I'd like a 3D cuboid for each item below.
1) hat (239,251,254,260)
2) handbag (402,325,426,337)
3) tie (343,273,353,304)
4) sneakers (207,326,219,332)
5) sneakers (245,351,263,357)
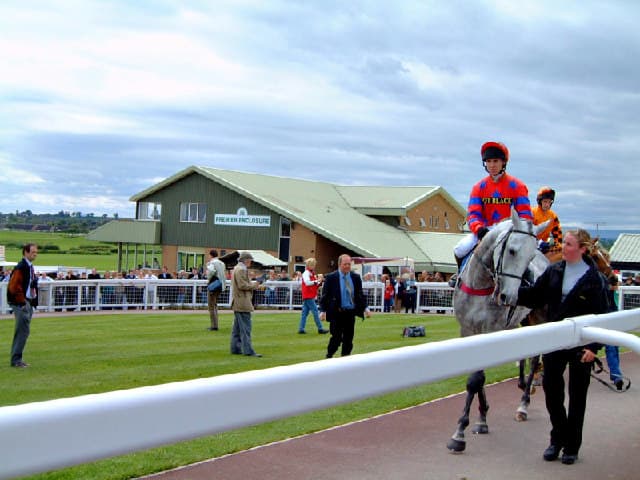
[{"bbox_3d":[-1.415,0.286,12.212,0.139,0.118,0.207,8,2,43],"label":"hat"},{"bbox_3d":[2.386,2.284,15.623,0.498,0.240,0.296,5,-8,-35],"label":"handbag"},{"bbox_3d":[0.453,0.838,10.249,0.105,0.423,0.301,-3,-1,23],"label":"tie"},{"bbox_3d":[-2.922,2.404,16.910,0.293,0.131,0.114,3,0,24],"label":"sneakers"},{"bbox_3d":[-1.269,2.206,12.009,0.359,0.147,0.124,2,-2,4],"label":"sneakers"}]
